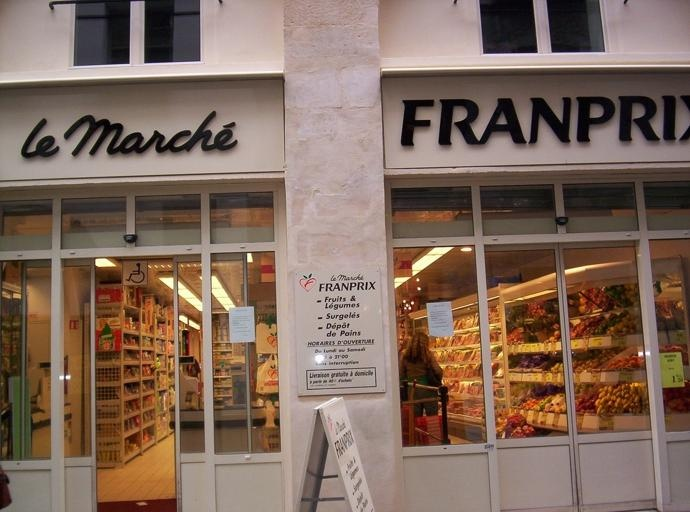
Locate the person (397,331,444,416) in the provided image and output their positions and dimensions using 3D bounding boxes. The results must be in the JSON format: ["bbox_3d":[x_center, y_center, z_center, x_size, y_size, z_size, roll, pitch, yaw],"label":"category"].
[{"bbox_3d":[0.916,1.409,8.577,0.497,0.978,0.144,-3,-11,2],"label":"person"}]
